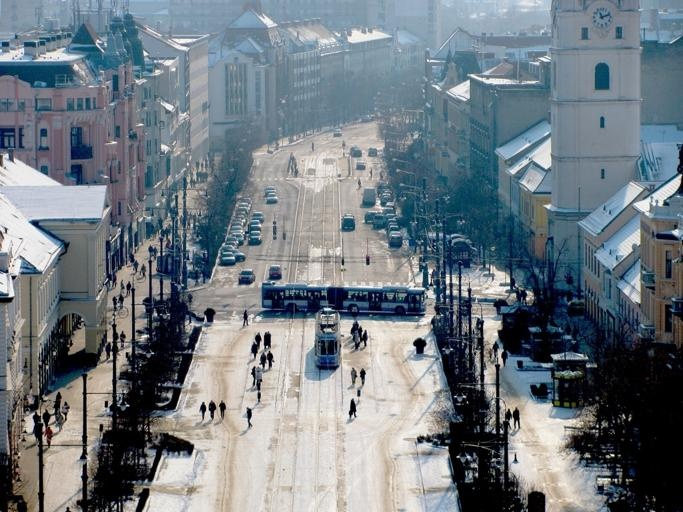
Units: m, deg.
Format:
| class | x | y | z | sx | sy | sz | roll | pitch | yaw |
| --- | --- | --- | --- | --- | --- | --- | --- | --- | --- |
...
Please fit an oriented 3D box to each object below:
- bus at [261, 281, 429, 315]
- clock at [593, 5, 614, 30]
| class | x | y | z | sx | sy | sz | roll | pitch | yaw |
| --- | --- | --- | --- | --- | --- | --- | --- | --- | --- |
| bus | 0.191 | 4.741 | 165.967 | 16.334 | 3.729 | 1.786 | -2 | 15 | 5 |
| clock | 27.427 | -25.501 | 167.559 | 1.751 | 2.176 | 0.221 | -11 | 22 | 8 |
